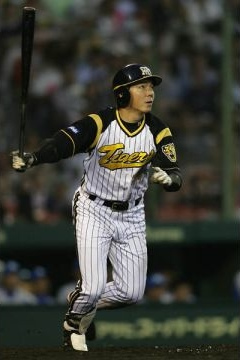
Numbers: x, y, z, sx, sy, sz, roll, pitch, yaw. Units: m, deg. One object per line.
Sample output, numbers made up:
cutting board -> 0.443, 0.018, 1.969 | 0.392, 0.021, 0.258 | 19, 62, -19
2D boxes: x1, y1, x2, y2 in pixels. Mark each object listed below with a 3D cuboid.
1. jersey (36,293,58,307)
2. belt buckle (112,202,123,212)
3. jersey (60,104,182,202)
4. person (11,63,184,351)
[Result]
jersey -> -0.880, 1.373, 6.431 | 0.174, 0.063, 0.220 | 5, -5, 14
belt buckle -> -0.024, 0.163, 3.460 | 0.073, 0.058, 0.045 | 1, -6, -6
jersey -> -0.002, -0.143, 3.499 | 0.884, 0.537, 0.296 | 8, 8, -25
person -> -0.081, 0.116, 3.466 | 0.802, 2.098, 0.806 | 0, 5, 12
